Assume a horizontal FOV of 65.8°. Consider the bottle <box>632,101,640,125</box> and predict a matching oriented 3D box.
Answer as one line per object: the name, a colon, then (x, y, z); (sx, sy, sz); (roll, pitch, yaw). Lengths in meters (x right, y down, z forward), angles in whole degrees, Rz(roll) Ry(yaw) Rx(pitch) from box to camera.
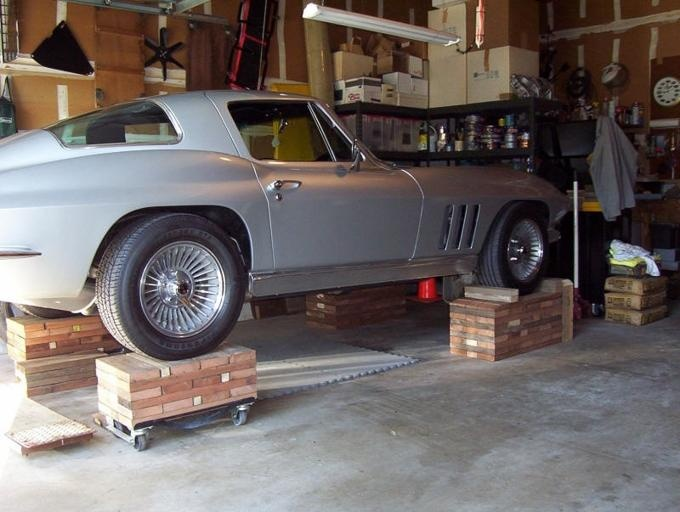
bottle: (4.730, -2.224, 8.366); (0.121, 0.336, 0.273); (2, 8, 27)
